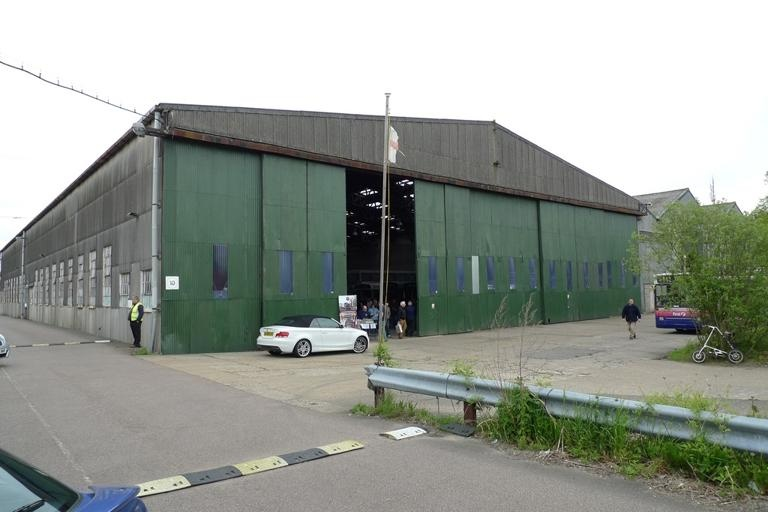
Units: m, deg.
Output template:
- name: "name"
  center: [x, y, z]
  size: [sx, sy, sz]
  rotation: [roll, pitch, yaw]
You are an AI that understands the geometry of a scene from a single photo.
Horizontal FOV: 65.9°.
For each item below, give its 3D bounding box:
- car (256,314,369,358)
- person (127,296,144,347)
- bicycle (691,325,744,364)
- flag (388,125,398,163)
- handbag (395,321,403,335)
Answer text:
- name: "car"
  center: [-2.868, 3.169, 23.767]
  size: [3.471, 1.335, 1.879]
  rotation: [1, -5, -35]
- name: "person"
  center: [-10.477, 2.769, 25.135]
  size: [0.532, 2.170, 1.477]
  rotation: [-1, -6, -23]
- name: "bicycle"
  center: [11.505, 3.008, 20.401]
  size: [1.428, 1.302, 0.835]
  rotation: [-6, -6, 31]
- name: "flag"
  center: [0.334, -4.461, 23.557]
  size: [0.344, 1.638, 1.077]
  rotation: [-2, -5, 0]
- name: "handbag"
  center: [0.815, 3.954, 32.490]
  size: [0.292, 0.920, 0.885]
  rotation: [-1, -5, -16]
